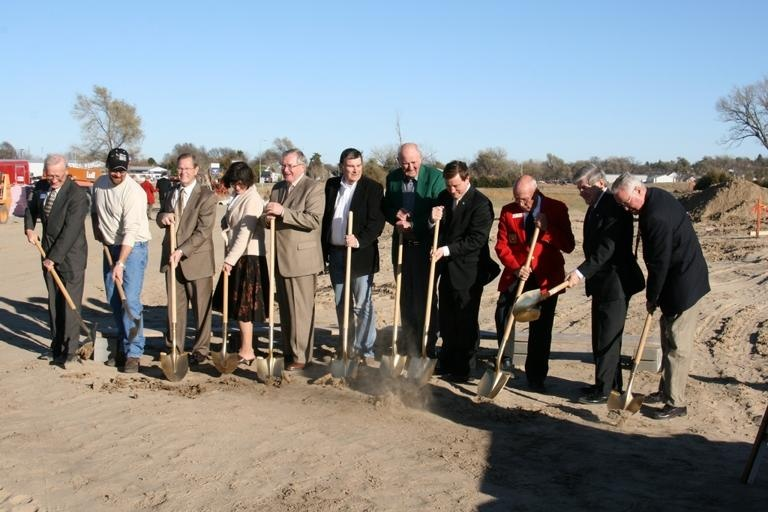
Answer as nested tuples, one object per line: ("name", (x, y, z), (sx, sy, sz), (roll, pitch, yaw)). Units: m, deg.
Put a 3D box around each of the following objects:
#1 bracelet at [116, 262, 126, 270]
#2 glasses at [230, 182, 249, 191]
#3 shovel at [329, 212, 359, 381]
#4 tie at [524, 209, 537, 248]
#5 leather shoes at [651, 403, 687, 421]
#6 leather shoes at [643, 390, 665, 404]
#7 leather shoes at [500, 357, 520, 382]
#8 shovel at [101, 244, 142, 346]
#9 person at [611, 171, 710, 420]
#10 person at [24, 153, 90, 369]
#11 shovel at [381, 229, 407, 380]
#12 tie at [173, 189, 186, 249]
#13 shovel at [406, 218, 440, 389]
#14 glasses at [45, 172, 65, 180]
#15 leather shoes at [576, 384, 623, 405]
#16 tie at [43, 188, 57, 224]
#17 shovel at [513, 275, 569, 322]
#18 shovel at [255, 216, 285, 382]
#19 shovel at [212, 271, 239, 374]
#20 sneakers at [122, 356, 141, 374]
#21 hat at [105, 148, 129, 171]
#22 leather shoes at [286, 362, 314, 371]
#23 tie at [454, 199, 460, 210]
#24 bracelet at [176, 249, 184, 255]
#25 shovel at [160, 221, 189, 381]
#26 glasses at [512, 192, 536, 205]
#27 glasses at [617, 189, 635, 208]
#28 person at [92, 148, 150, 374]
("bracelet", (-3.446, 0.123, 8.173), (0.117, 0.078, 0.107), (20, 3, -30))
("glasses", (-1.937, -0.903, 8.331), (0.106, 0.077, 0.137), (1, -15, 7))
("shovel", (-0.501, 0.947, 8.449), (0.319, 1.434, 0.142), (2, -16, -4))
("tie", (1.917, -0.362, 8.115), (0.081, 0.359, 0.246), (0, 11, -6))
("leather shoes", (3.477, 1.894, 7.577), (0.414, 0.186, 0.181), (2, -4, -8))
("leather shoes", (3.475, 1.772, 7.856), (0.328, 0.135, 0.122), (-4, 19, 7))
("leather shoes", (1.607, 1.437, 7.982), (0.225, 0.409, 0.148), (3, -9, 1))
("shovel", (-3.559, 0.492, 8.452), (0.456, 1.291, 0.223), (-35, -28, 23))
("person", (3.323, 0.512, 7.399), (1.080, 2.862, 0.344), (1, 1, -13))
("person", (-4.565, 0.090, 8.704), (0.960, 2.904, 0.713), (1, 1, 33))
("shovel", (0.166, 0.630, 8.743), (0.345, 1.947, 1.108), (1, 0, 2))
("tie", (-2.800, -0.487, 8.520), (0.115, 0.911, 0.080), (4, -7, -12))
("shovel", (0.549, 0.605, 8.386), (0.389, 2.107, 0.734), (1, 1, 6))
("glasses", (-4.497, -1.071, 8.543), (0.240, 0.123, 0.225), (1, -1, -29))
("leather shoes", (2.781, 1.747, 7.910), (0.611, 0.256, 0.232), (2, -2, 1))
("tie", (-4.641, -0.716, 8.649), (0.272, 0.412, 0.077), (1, 1, 29))
("shovel", (1.999, 0.562, 7.839), (0.802, 0.375, 0.271), (-29, -6, 15))
("shovel", (-1.574, 0.594, 8.685), (0.363, 2.152, 1.400), (1, 0, -10))
("shovel", (-2.158, 0.912, 8.521), (0.349, 1.410, 0.680), (1, 1, -14))
("sneakers", (-3.493, 1.511, 8.585), (0.135, 0.136, 0.345), (0, -10, -7))
("hat", (-3.525, -1.258, 8.240), (0.270, 0.344, 0.326), (1, 0, -25))
("leather shoes", (-1.172, 1.520, 8.618), (0.344, 0.128, 0.122), (7, -9, -40))
("tie", (0.980, -0.691, 8.341), (0.110, 0.141, 0.050), (1, 1, 31))
("bracelet", (-2.713, -0.046, 8.307), (0.070, 0.028, 0.062), (35, -2, 41))
("shovel", (-2.806, 0.619, 8.403), (0.331, 2.078, 0.466), (0, 1, -18))
("glasses", (1.785, -0.683, 7.870), (0.172, 0.139, 0.246), (12, -5, 16))
("glasses", (2.828, -0.657, 7.264), (0.057, 0.181, 0.164), (-12, 16, -39))
("person", (-3.574, 0.082, 8.524), (0.598, 3.019, 0.773), (0, 1, -42))
